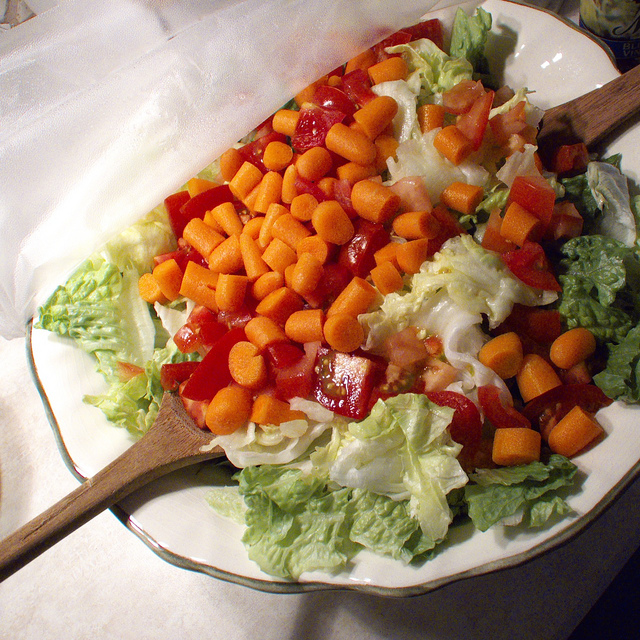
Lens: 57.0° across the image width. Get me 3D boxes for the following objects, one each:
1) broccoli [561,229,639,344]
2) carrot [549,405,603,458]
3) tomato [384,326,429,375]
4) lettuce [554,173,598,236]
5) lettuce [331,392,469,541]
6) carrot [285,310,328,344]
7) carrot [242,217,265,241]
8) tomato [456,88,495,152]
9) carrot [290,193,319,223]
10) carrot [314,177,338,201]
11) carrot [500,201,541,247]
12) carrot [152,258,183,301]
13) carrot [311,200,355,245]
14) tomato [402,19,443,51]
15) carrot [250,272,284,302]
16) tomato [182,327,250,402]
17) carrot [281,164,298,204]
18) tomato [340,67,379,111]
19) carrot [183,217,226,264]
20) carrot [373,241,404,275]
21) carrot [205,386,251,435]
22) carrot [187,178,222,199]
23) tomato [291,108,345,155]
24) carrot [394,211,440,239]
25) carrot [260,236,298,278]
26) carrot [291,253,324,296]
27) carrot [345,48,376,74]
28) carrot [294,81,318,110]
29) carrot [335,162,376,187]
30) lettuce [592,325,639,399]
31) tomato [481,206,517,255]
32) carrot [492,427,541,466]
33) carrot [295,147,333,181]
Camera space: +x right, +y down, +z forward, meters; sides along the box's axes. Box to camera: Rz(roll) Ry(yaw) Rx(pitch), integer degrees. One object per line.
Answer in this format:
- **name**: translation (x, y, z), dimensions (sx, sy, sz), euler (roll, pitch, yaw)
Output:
- **broccoli**: translation (0.684, -0.078, 1.442), dimensions (0.190, 0.062, 0.271), euler (-2, 74, 19)
- **carrot**: translation (0.578, 0.253, 1.320), dimensions (0.064, 0.050, 0.088), euler (48, 116, 19)
- **tomato**: translation (0.213, 0.074, 1.446), dimensions (0.090, 0.034, 0.123), euler (-16, 65, 2)
- **lettuce**: translation (0.713, -0.341, 1.628), dimensions (0.089, 0.148, 0.031), euler (4, 37, 25)
- **lettuce**: translation (0.209, 0.276, 1.344), dimensions (0.287, 0.121, 0.301), euler (19, 98, 11)
- **carrot**: translation (-0.037, 0.018, 1.465), dimensions (0.093, 0.084, 0.083), euler (4, 76, 22)
- **carrot**: translation (-0.179, -0.247, 1.579), dimensions (0.046, 0.036, 0.064), euler (42, 94, 17)
- **tomato**: translation (0.420, -0.532, 1.568), dimensions (0.098, 0.044, 0.169), euler (-18, 51, 33)
- **carrot**: translation (-0.032, -0.288, 1.510), dimensions (0.064, 0.017, 0.065), euler (-1, 104, -27)
- **carrot**: translation (0.015, -0.347, 1.574), dimensions (0.037, 0.039, 0.045), euler (-36, 55, -5)
- **carrot**: translation (0.490, -0.232, 1.495), dimensions (0.097, 0.102, 0.100), euler (17, 90, 48)
- **carrot**: translation (-0.427, -0.080, 1.663), dimensions (0.080, 0.091, 0.155), euler (-3, 58, -21)
- **carrot**: translation (0.043, -0.245, 1.504), dimensions (0.103, 0.114, 0.042), euler (-23, 56, 45)
- **tomato**: translation (0.339, -0.913, 1.872), dimensions (0.101, 0.028, 0.106), euler (-8, 93, -11)
- **carrot**: translation (-0.140, -0.089, 1.523), dimensions (0.073, 0.062, 0.039), euler (-34, 86, 3)
- **tomato**: translation (-0.267, 0.123, 1.534), dimensions (0.100, 0.062, 0.219), euler (46, 68, -12)
- **carrot**: translation (-0.081, -0.361, 1.574), dimensions (0.043, 0.030, 0.097), euler (5, 89, -10)
- **tomato**: translation (0.109, -0.669, 1.699), dimensions (0.084, 0.038, 0.143), euler (-25, 66, 4)
- **carrot**: translation (-0.322, -0.227, 1.658), dimensions (0.124, 0.094, 0.094), euler (40, 58, 13)
- **carrot**: translation (0.173, -0.164, 1.515), dimensions (0.073, 0.073, 0.047), euler (-40, 107, -6)
- **carrot**: translation (-0.224, 0.219, 1.484), dimensions (0.087, 0.089, 0.120), euler (25, 46, 6)
- **carrot**: translation (-0.338, -0.381, 1.680), dimensions (0.076, 0.028, 0.060), euler (-17, 87, -24)
- **tomato**: translation (-0.017, -0.527, 1.621), dimensions (0.122, 0.035, 0.131), euler (20, 90, 26)
- **carrot**: translation (0.244, -0.237, 1.496), dimensions (0.098, 0.066, 0.074), euler (4, 52, 38)
- **carrot**: translation (-0.108, -0.175, 1.576), dimensions (0.068, 0.093, 0.091), euler (-28, 39, -10)
- **carrot**: translation (-0.033, -0.113, 1.464), dimensions (0.070, 0.052, 0.101), euler (-2, 83, 19)
- **carrot**: translation (0.117, -0.782, 1.795), dimensions (0.023, 0.087, 0.090), euler (41, 42, 21)
- **carrot**: translation (-0.042, -0.655, 1.722), dimensions (0.024, 0.072, 0.074), euler (40, 63, -14)
- **carrot**: translation (0.096, -0.403, 1.615), dimensions (0.095, 0.066, 0.063), euler (-13, 53, -30)
- **lettuce**: translation (0.693, 0.099, 1.393), dimensions (0.139, 0.056, 0.155), euler (9, 94, 48)
- **tomato**: translation (0.452, -0.223, 1.489), dimensions (0.041, 0.082, 0.115), euler (5, 92, 11)
- **carrot**: translation (0.437, 0.280, 1.307), dimensions (0.086, 0.090, 0.069), euler (-2, 72, 17)
- **carrot**: translation (-0.015, -0.412, 1.560), dimensions (0.094, 0.049, 0.075), euler (-31, 87, 2)
